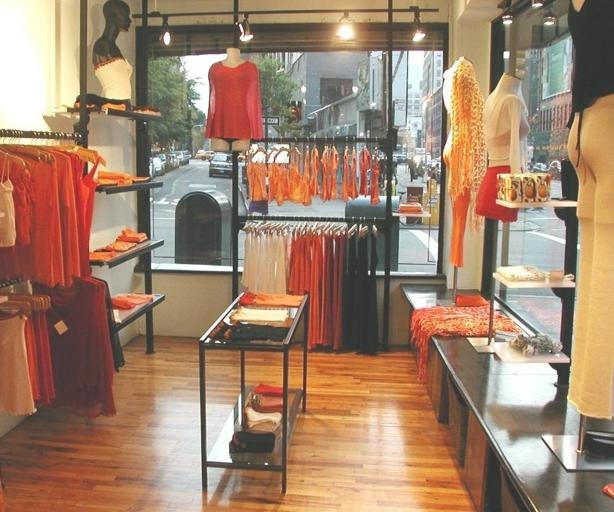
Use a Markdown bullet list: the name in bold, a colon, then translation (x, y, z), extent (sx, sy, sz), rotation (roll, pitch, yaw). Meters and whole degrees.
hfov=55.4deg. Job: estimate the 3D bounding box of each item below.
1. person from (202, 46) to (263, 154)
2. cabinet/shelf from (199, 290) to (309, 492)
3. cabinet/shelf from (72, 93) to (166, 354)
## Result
- **person**: translation (-0.695, -1.403, 5.454), extent (0.519, 0.802, 0.263), rotation (-1, 12, -6)
- **cabinet/shelf**: translation (-0.379, 1.022, 4.256), extent (0.461, 1.008, 1.338), rotation (2, 0, 0)
- **cabinet/shelf**: translation (-1.714, -0.616, 5.464), extent (0.873, 2.067, 0.320), rotation (-13, -9, 30)
